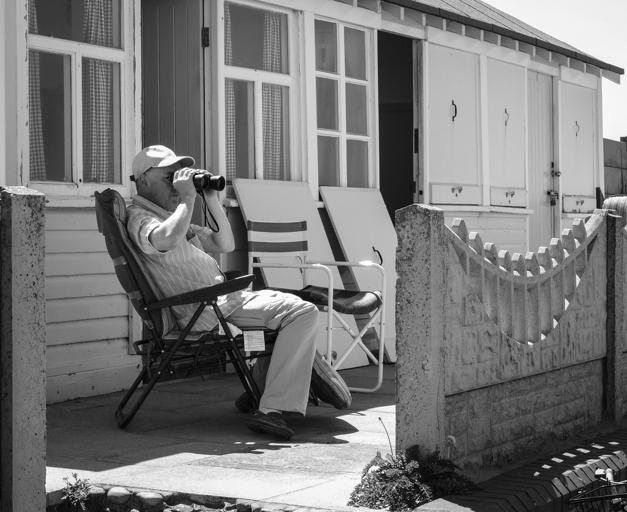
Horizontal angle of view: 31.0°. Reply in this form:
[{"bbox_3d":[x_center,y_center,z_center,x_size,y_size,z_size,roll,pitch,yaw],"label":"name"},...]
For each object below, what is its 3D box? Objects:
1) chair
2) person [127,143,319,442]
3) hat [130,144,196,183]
[{"bbox_3d":[-0.563,0.353,8.087,1.843,2.091,1.208,-1,-2,22],"label":"chair"},{"bbox_3d":[-0.575,0.213,7.168,1.207,1.791,0.858,0,6,3],"label":"person"},{"bbox_3d":[-0.965,-0.615,7.264,0.303,0.187,0.239,-24,1,15],"label":"hat"}]
